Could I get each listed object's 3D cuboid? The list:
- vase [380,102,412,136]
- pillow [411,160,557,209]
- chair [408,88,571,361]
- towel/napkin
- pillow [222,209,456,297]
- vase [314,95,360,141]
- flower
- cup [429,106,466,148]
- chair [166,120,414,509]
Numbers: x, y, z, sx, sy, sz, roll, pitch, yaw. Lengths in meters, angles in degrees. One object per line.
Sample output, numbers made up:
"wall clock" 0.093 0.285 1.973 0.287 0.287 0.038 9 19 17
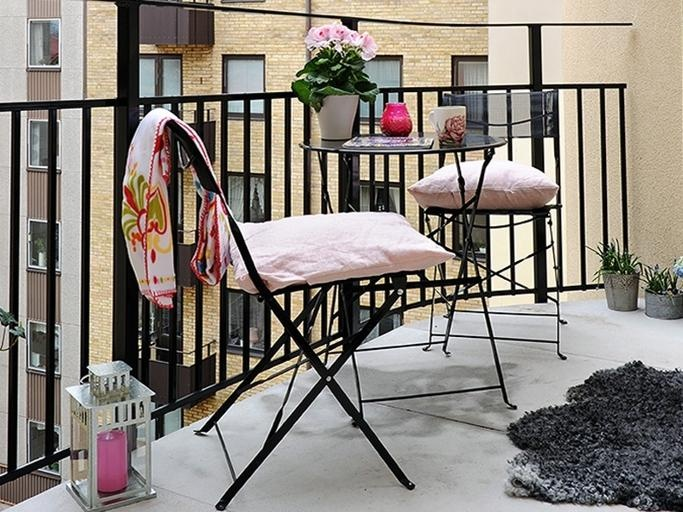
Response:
"vase" 0.229 -0.572 4.023 0.140 0.133 0.138 -5 18 -9
"pillow" 0.569 -0.276 4.193 0.647 0.216 0.606 1 1 -1
"chair" 0.762 -0.273 4.452 0.859 1.554 0.843 0 2 12
"towel/napkin" -0.575 -0.151 3.309 0.371 0.711 0.297 -1 10 -7
"pillow" 0.005 -0.019 3.477 0.709 0.237 0.430 -2 10 -14
"vase" -0.012 -0.584 4.053 0.136 0.210 0.128 6 14 19
"flower" -0.027 -0.786 3.985 0.363 0.364 0.206 0 10 1
"cup" 0.434 -0.528 3.885 0.147 0.154 0.161 0 10 0
"chair" -0.220 0.253 3.666 0.834 1.459 0.839 -2 5 -23
